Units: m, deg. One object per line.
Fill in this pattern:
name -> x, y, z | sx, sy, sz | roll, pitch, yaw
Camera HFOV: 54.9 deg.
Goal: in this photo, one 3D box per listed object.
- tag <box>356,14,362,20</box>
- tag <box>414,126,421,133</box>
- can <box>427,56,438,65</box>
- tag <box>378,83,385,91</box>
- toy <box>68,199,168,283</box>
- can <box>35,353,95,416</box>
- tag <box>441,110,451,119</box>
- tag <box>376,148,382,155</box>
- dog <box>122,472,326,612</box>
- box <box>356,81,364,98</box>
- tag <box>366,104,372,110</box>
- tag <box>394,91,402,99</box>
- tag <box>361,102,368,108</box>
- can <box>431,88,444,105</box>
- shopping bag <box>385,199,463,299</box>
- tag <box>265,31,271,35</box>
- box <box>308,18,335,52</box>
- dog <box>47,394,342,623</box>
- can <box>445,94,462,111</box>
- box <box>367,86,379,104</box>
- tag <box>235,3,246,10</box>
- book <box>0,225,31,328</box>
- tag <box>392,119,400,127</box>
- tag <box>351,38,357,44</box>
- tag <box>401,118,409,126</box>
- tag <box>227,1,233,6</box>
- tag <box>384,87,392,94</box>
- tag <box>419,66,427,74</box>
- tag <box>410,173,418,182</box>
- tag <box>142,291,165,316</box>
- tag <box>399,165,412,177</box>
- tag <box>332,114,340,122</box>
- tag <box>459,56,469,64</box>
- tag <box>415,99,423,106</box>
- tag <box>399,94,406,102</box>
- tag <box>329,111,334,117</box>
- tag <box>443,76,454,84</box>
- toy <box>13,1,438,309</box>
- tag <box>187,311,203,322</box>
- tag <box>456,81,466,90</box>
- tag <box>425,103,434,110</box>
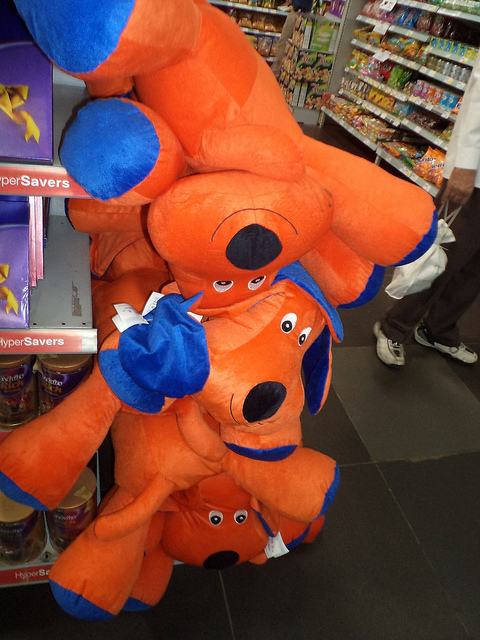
tag -> 1.357, -3.470, 5.259 | 0.012, 0.052, 0.048 | 11, 3, -6
tag -> 1.495, -1.615, 3.893 | 0.010, 0.039, 0.041 | 3, 15, -32
can -> 1.562, -2.128, 3.768 | 0.066, 0.054, 0.088 | 5, 44, -3
tag -> 1.382, -2.286, 4.503 | 0.019, 0.068, 0.073 | 2, 6, -23
toy -> -0.293, -0.197, 1.058 | 0.195, 0.202, 0.080 | 11, 37, 42
can -> -0.381, 0.119, 1.060 | 0.140, 0.158, 0.127 | -8, 33, -16
tag -> 1.537, -1.548, 3.458 | 0.019, 0.058, 0.083 | 11, 20, -17
tag -> 1.326, -1.621, 4.418 | 0.011, 0.042, 0.046 | 3, 37, -16
dog -> -0.059, 0.608, 1.258 | 0.492, 0.285, 0.187 | -10, 26, -34
box -> 1.356, -2.623, 5.239 | 0.048, 0.057, 0.215 | 31, 53, -36
tag -> 1.334, -2.215, 4.784 | 0.056, 0.054, 0.013 | 4, 2, 33
tag -> 1.424, -2.040, 4.172 | 0.015, 0.059, 0.061 | 4, 20, -20
tag -> 1.324, -2.303, 4.921 | 0.016, 0.066, 0.070 | 1, 11, -21
can -> 1.553, -1.763, 3.636 | 0.059, 0.145, 0.047 | 12, 15, -22
shopping bag -> 0.567, -0.179, 1.329 | 0.127, 0.320, 0.215 | 44, 11, 24
tag -> 0.414, -4.246, 6.797 | 0.047, 0.042, 0.045 | 0, 48, 0
box -> 0.971, -3.449, 5.527 | 0.252, 0.327, 0.194 | 11, 47, -10
dog -> -0.125, 0.484, 1.134 | 0.591, 0.573, 0.356 | -12, 40, -22
can -> 1.601, -1.648, 3.492 | 0.076, 0.111, 0.115 | 25, 37, 11
box -> 1.403, -2.392, 4.890 | 0.046, 0.194, 0.098 | 10, 17, -26
tag -> 0.003, -4.498, 6.596 | 0.091, 0.027, 0.096 | -7, 71, -10
book -> -0.391, -0.079, 0.807 | 0.034, 0.141, 0.136 | 0, 6, -13
tag -> 1.428, -1.816, 4.229 | 0.056, 0.060, 0.062 | 5, 16, -5
tag -> 1.334, -3.281, 5.417 | 0.016, 0.066, 0.071 | 5, 17, -7
tag -> 1.463, -1.768, 4.101 | 0.020, 0.061, 0.065 | 3, 20, -13
tag -> -0.144, -4.575, 6.650 | 0.078, 0.080, 0.019 | 3, -4, 5
tag -> 1.389, -2.172, 4.347 | 0.013, 0.058, 0.054 | 18, 12, -9
tag -> 1.488, -2.047, 3.764 | 0.015, 0.060, 0.064 | 0, 21, -20
tag -> 1.427, -1.179, 3.798 | 0.014, 0.056, 0.060 | 6, 25, -18
tag -> -0.172, -0.034, 0.904 | 0.010, 0.043, 0.043 | 24, 55, 4
tag -> 1.416, -1.283, 3.970 | 0.030, 0.088, 0.126 | -5, 42, -32
tag -> 1.144, -2.418, 5.500 | 0.027, 0.093, 0.101 | -5, 24, -27
tag -> 1.574, -1.838, 3.253 | 0.014, 0.058, 0.059 | 21, 7, -45
tag -> 1.477, -1.811, 3.823 | 0.011, 0.047, 0.049 | 1, 19, -21
tag -> 1.439, -1.979, 4.095 | 0.018, 0.056, 0.083 | 2, 19, -11
tag -> 1.125, -2.556, 5.702 | 0.014, 0.056, 0.058 | -2, 22, -17
tag -> 1.565, -1.808, 3.472 | 0.035, 0.036, 0.119 | 10, 38, -10
toy -> -0.003, -0.222, 0.769 | 0.634, 0.471, 0.263 | 2, 39, -19
tag -> -0.081, -0.007, 0.832 | 0.017, 0.005, 0.018 | 31, 5, -7
tag -> 1.603, -1.717, 3.362 | 0.017, 0.059, 0.065 | 5, 12, -33
tag -> 1.501, -1.698, 3.664 | 0.018, 0.048, 0.074 | -7, 24, -34
